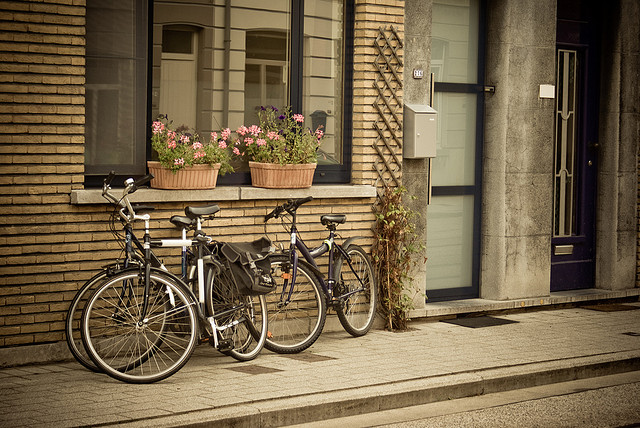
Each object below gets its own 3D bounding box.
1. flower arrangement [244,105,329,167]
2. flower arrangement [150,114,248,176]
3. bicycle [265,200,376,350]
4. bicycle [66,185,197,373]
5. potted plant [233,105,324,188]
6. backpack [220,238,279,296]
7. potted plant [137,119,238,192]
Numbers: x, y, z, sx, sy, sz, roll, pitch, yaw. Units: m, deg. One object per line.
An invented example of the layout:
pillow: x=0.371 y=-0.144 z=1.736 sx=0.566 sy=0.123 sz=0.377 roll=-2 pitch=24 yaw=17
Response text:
flower arrangement: x=-0.490 y=-0.952 z=9.086 sx=1.027 sy=0.762 sz=0.766 roll=2 pitch=1 yaw=-21
flower arrangement: x=-1.549 y=-0.870 z=8.631 sx=1.131 sy=0.569 sz=0.886 roll=7 pitch=15 yaw=34
bicycle: x=0.046 y=0.710 z=8.904 sx=1.560 sy=1.774 sz=0.955 roll=-1 pitch=9 yaw=-23
bicycle: x=-2.190 y=0.664 z=7.641 sx=0.963 sy=1.936 sz=1.301 roll=10 pitch=11 yaw=38
potted plant: x=-0.531 y=-0.893 z=9.096 sx=1.189 sy=1.044 sz=0.637 roll=0 pitch=9 yaw=-15
backpack: x=-0.800 y=0.617 z=8.036 sx=0.394 sy=0.667 sz=0.621 roll=-19 pitch=-9 yaw=33
potted plant: x=-1.647 y=-0.683 z=8.605 sx=1.067 sy=0.775 sz=0.647 roll=-2 pitch=-2 yaw=-34
